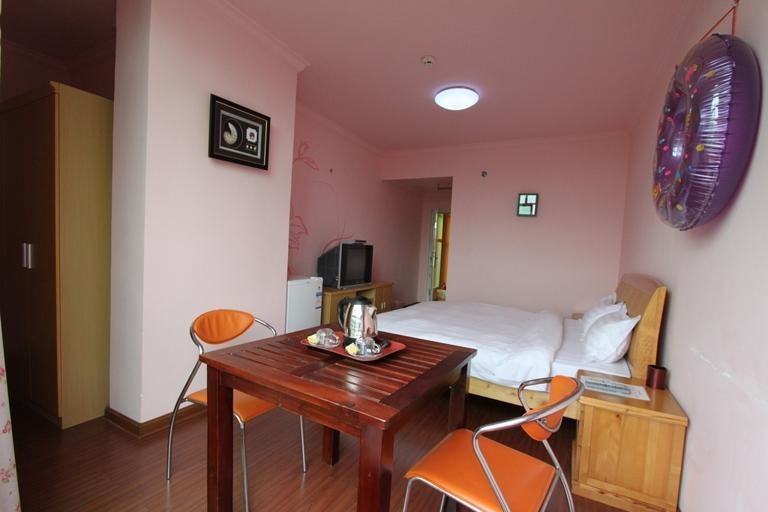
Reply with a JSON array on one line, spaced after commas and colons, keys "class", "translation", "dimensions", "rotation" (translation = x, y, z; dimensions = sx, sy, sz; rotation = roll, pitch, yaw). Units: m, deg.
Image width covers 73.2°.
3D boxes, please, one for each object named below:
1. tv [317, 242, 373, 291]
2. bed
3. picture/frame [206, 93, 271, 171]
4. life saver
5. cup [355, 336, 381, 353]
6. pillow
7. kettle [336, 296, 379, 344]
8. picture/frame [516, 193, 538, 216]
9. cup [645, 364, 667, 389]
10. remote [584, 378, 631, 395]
[{"class": "tv", "translation": [-0.522, 0.094, 6.618], "dimensions": [0.522, 0.678, 0.800], "rotation": [2, 5, 25]}, {"class": "bed", "translation": [1.366, 0.699, 4.704], "dimensions": [1.878, 0.952, 1.409], "rotation": [6, 12, 16]}, {"class": "picture/frame", "translation": [-1.285, -1.072, 4.547], "dimensions": [0.108, 0.491, 0.596], "rotation": [28, -3, 41]}, {"class": "life saver", "translation": [2.130, -0.828, 3.505], "dimensions": [0.304, 1.279, 0.660], "rotation": [1, 5, -17]}, {"class": "cup", "translation": [-0.103, 0.582, 3.416], "dimensions": [0.133, 0.091, 0.091], "rotation": [2, 6, 28]}, {"class": "pillow", "translation": [1.932, 0.656, 4.470], "dimensions": [0.409, 0.456, 0.702], "rotation": [4, 4, 20]}, {"class": "kettle", "translation": [-0.188, 0.402, 3.533], "dimensions": [0.212, 0.341, 0.326], "rotation": [4, 2, 38]}, {"class": "picture/frame", "translation": [1.875, -0.668, 6.750], "dimensions": [0.269, 0.282, 0.069], "rotation": [2, 0, 25]}, {"class": "cup", "translation": [2.042, 0.918, 3.938], "dimensions": [0.126, 0.152, 0.171], "rotation": [0, 0, -3]}, {"class": "remote", "translation": [1.672, 0.985, 3.861], "dimensions": [0.161, 0.025, 0.164], "rotation": [5, 9, 37]}]
